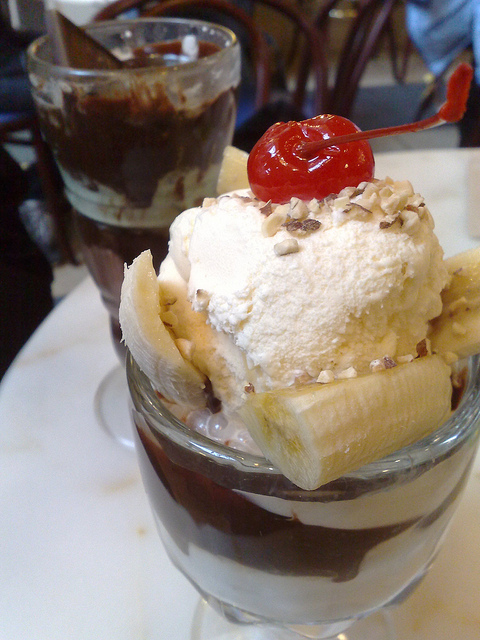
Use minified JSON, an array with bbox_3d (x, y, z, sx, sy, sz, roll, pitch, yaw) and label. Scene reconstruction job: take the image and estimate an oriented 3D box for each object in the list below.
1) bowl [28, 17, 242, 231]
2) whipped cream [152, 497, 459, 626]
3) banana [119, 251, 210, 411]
[{"bbox_3d":[-0.096,-0.196,0.737,0.249,0.176,0.240,-1,43,0],"label":"bowl"},{"bbox_3d":[0.042,0.175,0.483,0.227,0.147,0.075,3,48,2],"label":"whipped cream"},{"bbox_3d":[-0.056,-0.006,0.467,0.056,0.041,0.151,-6,46,-7],"label":"banana"}]
